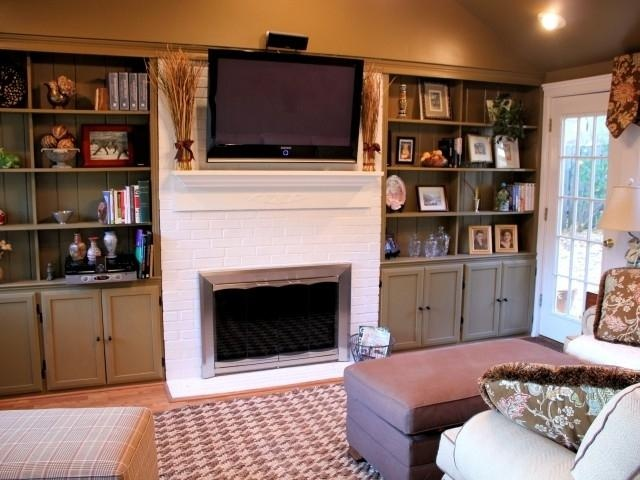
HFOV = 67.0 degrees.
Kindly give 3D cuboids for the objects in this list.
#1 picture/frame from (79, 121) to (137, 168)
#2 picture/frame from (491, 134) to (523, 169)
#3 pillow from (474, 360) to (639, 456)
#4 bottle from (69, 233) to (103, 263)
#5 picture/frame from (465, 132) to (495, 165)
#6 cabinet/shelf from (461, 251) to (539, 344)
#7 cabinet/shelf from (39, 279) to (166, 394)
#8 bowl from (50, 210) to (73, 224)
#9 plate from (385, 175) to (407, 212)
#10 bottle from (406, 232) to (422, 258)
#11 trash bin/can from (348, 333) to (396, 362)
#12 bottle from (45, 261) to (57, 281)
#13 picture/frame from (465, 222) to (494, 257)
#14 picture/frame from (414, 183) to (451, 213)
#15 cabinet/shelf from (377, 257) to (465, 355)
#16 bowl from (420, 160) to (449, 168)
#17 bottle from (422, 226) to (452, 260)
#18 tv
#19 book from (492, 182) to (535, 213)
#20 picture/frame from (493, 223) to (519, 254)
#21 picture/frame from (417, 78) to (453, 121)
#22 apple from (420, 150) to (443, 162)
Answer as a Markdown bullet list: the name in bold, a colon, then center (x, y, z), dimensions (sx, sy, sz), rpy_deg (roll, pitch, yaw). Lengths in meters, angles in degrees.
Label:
- **picture/frame**: center (-1.739, -0.778, 3.909), dimensions (0.376, 0.362, 0.039), rpy_deg (-1, 3, -23)
- **picture/frame**: center (1.892, -0.909, 4.937), dimensions (0.343, 0.401, 0.065), rpy_deg (-4, 3, -28)
- **pillow**: center (0.936, 0.586, 1.950), dimensions (0.365, 0.162, 0.434), rpy_deg (-3, 4, -21)
- **bottle**: center (-1.897, 0.062, 3.888), dimensions (0.219, 0.211, 0.113), rpy_deg (1, 7, -26)
- **picture/frame**: center (1.598, -0.919, 4.862), dimensions (0.344, 0.331, 0.055), rpy_deg (-1, -3, -27)
- **cabinet/shelf**: center (1.766, 0.545, 4.849), dimensions (0.841, 0.800, 0.329), rpy_deg (-3, 6, -22)
- **cabinet/shelf**: center (-1.768, 0.739, 3.836), dimensions (0.863, 0.823, 0.314), rpy_deg (-2, 4, -18)
- **bowl**: center (-2.020, -0.170, 3.784), dimensions (0.115, 0.078, 0.129), rpy_deg (-1, 2, -42)
- **plate**: center (0.729, -0.453, 4.644), dimensions (0.134, 0.331, 0.288), rpy_deg (10, 17, 39)
- **bottle**: center (0.941, 0.047, 4.799), dimensions (0.138, 0.218, 0.220), rpy_deg (2, 14, 13)
- **trash bin/can**: center (0.329, 0.795, 3.502), dimensions (0.211, 0.106, 0.213), rpy_deg (1, -1, -19)
- **bottle**: center (-2.135, 0.243, 3.835), dimensions (0.077, 0.125, 0.209), rpy_deg (-8, 15, -29)
- **picture/frame**: center (1.613, -0.004, 4.933), dimensions (0.331, 0.399, 0.029), rpy_deg (2, -5, -22)
- **picture/frame**: center (1.101, -0.418, 4.813), dimensions (0.299, 0.255, 0.024), rpy_deg (-2, -7, -27)
- **cabinet/shelf**: center (0.897, 0.579, 4.471), dimensions (0.838, 0.801, 0.335), rpy_deg (-2, 4, -17)
- **bowl**: center (1.103, -0.776, 4.674), dimensions (0.257, 0.133, 0.170), rpy_deg (3, 14, 12)
- **bottle**: center (1.166, 0.020, 4.821), dimensions (0.363, 0.268, 0.224), rpy_deg (-7, 15, -25)
- **tv**: center (-0.279, -1.067, 3.880), dimensions (1.243, 0.824, 0.129), rpy_deg (-4, 13, -16)
- **book**: center (1.986, -0.430, 5.097), dimensions (0.294, 0.399, 0.403), rpy_deg (0, 6, -22)
- **picture/frame**: center (1.936, -0.012, 5.063), dimensions (0.302, 0.396, 0.042), rpy_deg (2, -5, -7)
- **picture/frame**: center (1.083, -1.353, 4.638), dimensions (0.421, 0.502, 0.037), rpy_deg (-2, 0, -23)
- **apple**: center (1.090, -0.790, 4.680), dimensions (0.149, 0.081, 0.151), rpy_deg (2, 2, 34)
